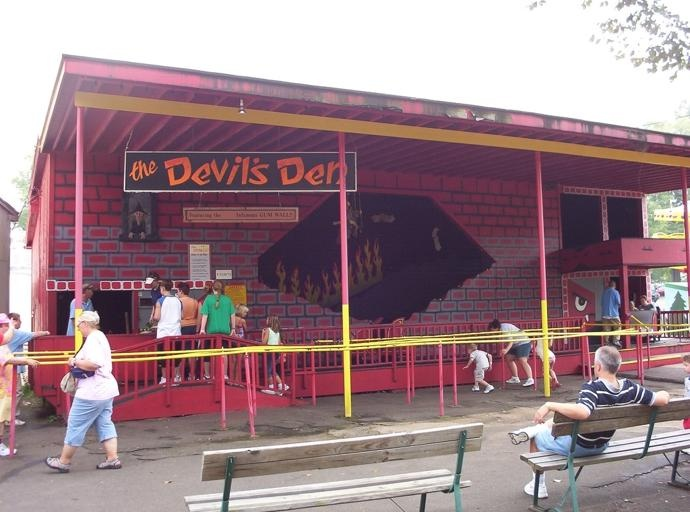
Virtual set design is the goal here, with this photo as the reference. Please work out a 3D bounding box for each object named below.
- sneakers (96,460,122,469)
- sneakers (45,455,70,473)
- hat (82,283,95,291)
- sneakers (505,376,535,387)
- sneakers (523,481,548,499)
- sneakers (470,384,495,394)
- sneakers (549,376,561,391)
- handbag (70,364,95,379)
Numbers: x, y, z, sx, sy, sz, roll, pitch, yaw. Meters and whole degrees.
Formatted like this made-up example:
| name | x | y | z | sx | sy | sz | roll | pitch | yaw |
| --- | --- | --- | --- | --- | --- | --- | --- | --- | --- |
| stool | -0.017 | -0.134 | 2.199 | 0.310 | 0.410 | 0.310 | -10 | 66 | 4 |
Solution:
| name | x | y | z | sx | sy | sz | roll | pitch | yaw |
| --- | --- | --- | --- | --- | --- | --- | --- | --- | --- |
| sneakers | -3.069 | 2.728 | 9.062 | 0.346 | 0.148 | 0.127 | 2 | -4 | 6 |
| sneakers | -3.701 | 2.691 | 8.921 | 0.299 | 0.132 | 0.156 | 17 | -2 | -10 |
| hat | -4.706 | 0.561 | 12.619 | 0.226 | 0.072 | 0.226 | -1 | -1 | -16 |
| sneakers | 3.773 | 2.706 | 14.852 | 0.613 | 0.259 | 0.204 | 3 | -10 | 6 |
| sneakers | 2.211 | 2.696 | 7.953 | 0.135 | 0.161 | 0.353 | 0 | -4 | -5 |
| sneakers | 2.837 | 2.721 | 14.153 | 0.555 | 0.233 | 0.188 | 0 | 0 | 42 |
| sneakers | 4.476 | 2.686 | 14.620 | 0.148 | 0.193 | 0.458 | -2 | -1 | 23 |
| handbag | -3.349 | 1.470 | 8.776 | 0.173 | 0.083 | 0.198 | 2 | 2 | 36 |
